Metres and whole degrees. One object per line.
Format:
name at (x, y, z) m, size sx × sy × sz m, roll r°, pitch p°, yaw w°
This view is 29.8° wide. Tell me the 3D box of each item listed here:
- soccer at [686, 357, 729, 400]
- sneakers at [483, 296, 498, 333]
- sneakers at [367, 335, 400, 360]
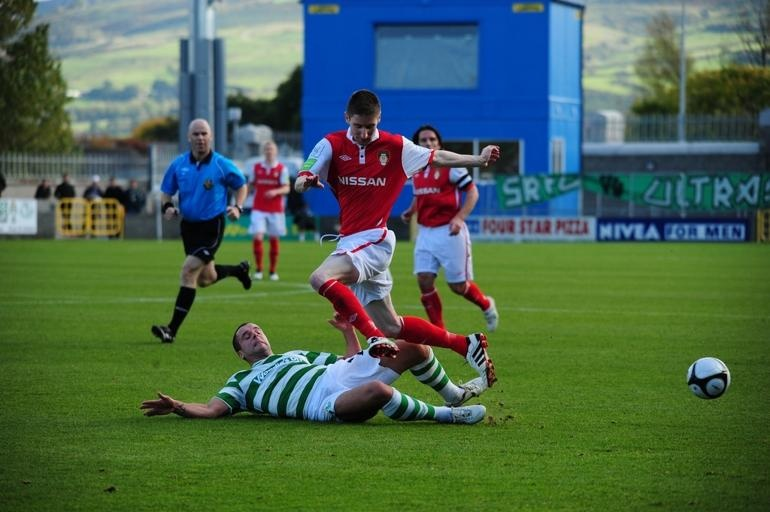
soccer at (2.431, 0.883, 10.735) m, size 0.296 × 0.304 × 0.294 m, roll -8°, pitch 2°, yaw -22°
sneakers at (0.993, 0.559, 13.869) m, size 0.117 × 0.343 × 0.145 m, roll -1°, pitch 7°, yaw 27°
sneakers at (-0.015, 0.646, 10.322) m, size 0.222 × 0.172 × 0.209 m, roll 0°, pitch 14°, yaw -2°
